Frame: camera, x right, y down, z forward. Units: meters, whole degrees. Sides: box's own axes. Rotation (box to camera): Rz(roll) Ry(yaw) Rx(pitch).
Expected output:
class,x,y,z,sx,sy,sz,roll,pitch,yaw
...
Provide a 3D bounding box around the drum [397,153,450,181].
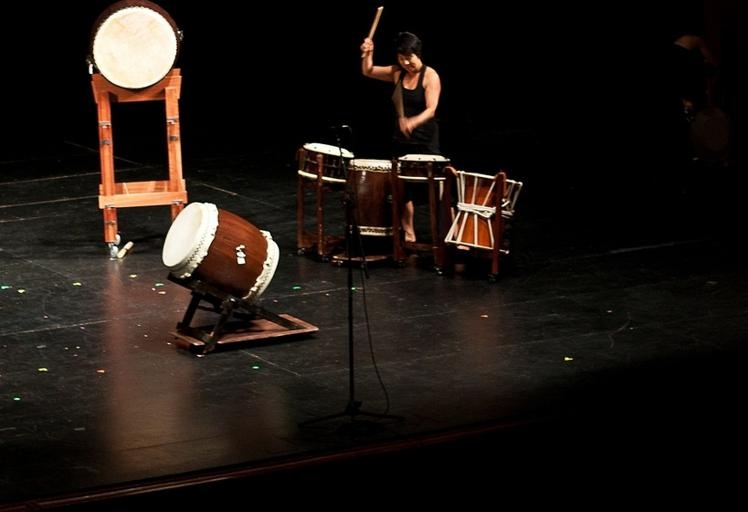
class,x,y,z,sx,sy,sz,roll,pitch,yaw
drum,0.545,-0.932,8.311,0.475,0.123,0.386,-4,14,-21

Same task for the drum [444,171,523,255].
class,x,y,z,sx,sy,sz,roll,pitch,yaw
drum,1.136,-0.455,8.213,0.703,0.804,0.419,9,17,11

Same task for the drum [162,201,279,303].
class,x,y,z,sx,sy,sz,roll,pitch,yaw
drum,-1.248,-0.035,6.456,0.921,0.775,0.452,3,17,-9
